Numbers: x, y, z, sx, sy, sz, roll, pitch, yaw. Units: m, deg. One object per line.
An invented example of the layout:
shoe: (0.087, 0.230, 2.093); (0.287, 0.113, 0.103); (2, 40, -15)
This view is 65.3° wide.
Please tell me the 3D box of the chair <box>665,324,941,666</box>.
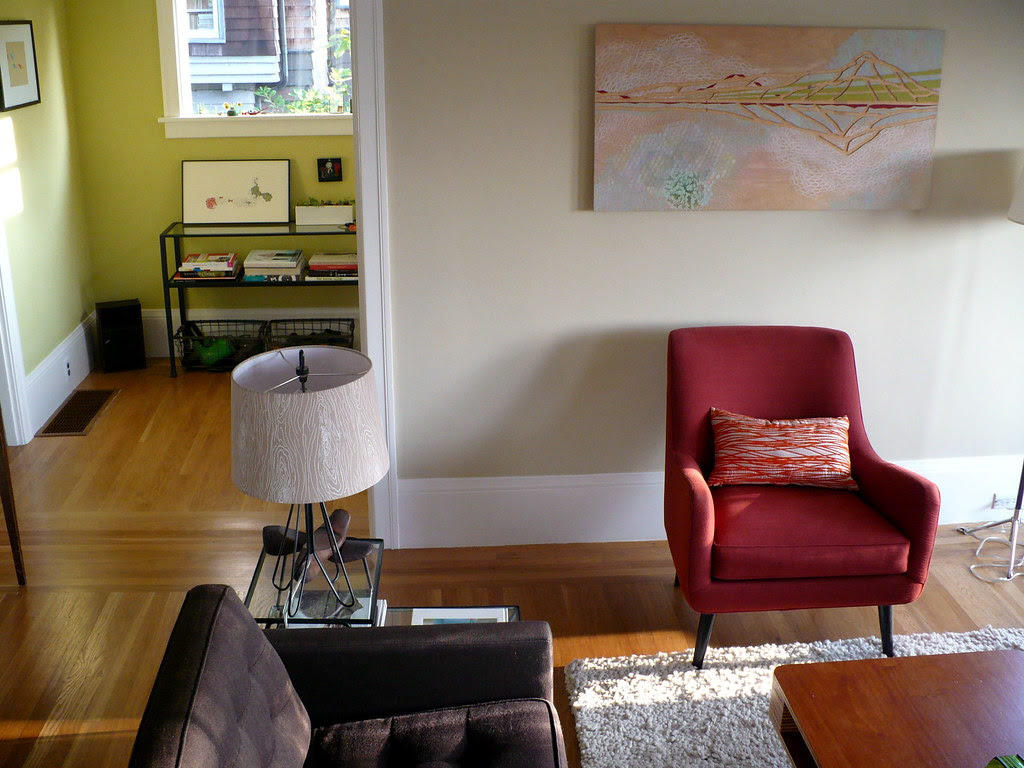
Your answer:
chair: (1.065, 0.399, 3.184); (0.905, 1.155, 0.723); (-3, 17, -2)

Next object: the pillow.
pillow: (1.076, 0.278, 3.218); (0.549, 0.321, 0.142); (1, -19, 11)

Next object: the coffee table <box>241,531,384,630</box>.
coffee table: (-0.615, 0.586, 2.436); (0.333, 0.078, 0.325); (1, 41, -2)
